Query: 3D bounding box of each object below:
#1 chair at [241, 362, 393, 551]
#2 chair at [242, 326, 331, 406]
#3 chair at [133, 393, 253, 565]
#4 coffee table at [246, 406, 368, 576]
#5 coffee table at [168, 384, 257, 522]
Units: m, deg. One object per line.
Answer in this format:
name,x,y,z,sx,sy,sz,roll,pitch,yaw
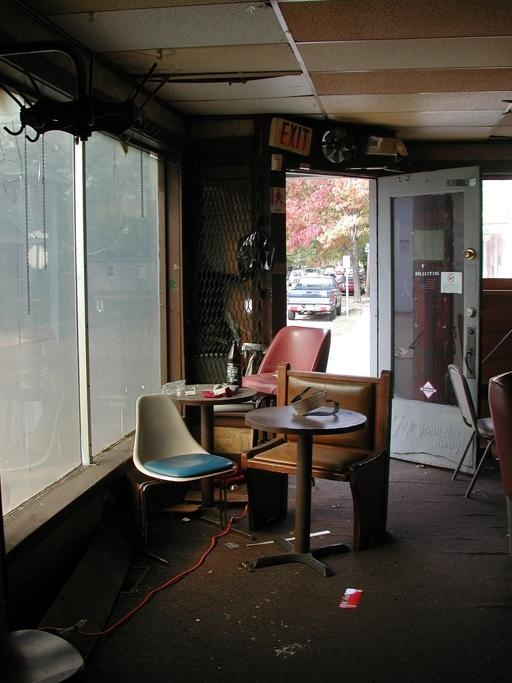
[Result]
chair,0.312,0.621,3.161,0.703,0.836,0.521,1,3,28
chair,0.155,0.140,4.281,0.581,0.751,0.627,4,5,34
chair,-0.398,0.694,3.112,0.559,0.736,0.508,-3,6,-44
coffee table,0.193,0.666,3.020,0.708,0.757,0.686,2,9,19
coffee table,-0.282,0.600,3.440,0.623,0.679,0.590,12,-28,-27
